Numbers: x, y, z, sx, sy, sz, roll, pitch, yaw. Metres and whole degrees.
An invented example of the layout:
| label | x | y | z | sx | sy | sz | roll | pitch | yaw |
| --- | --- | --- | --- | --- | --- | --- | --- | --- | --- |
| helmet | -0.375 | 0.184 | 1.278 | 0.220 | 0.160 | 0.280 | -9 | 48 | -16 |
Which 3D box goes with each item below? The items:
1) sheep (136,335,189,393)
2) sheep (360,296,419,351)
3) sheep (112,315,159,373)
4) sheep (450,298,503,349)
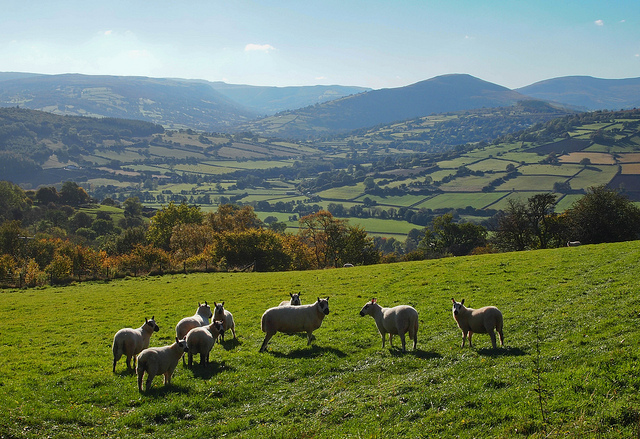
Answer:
| label | x | y | z | sx | sy | sz | roll | pitch | yaw |
| --- | --- | --- | --- | --- | --- | --- | --- | --- | --- |
| sheep | -11.094 | 10.099 | 44.393 | 1.590 | 3.495 | 4.526 | -6 | -5 | 32 |
| sheep | 5.249 | 7.843 | 47.620 | 1.939 | 3.680 | 5.169 | 4 | -7 | -39 |
| sheep | -13.881 | 9.174 | 46.818 | 1.662 | 3.592 | 4.941 | -5 | -5 | 17 |
| sheep | 10.407 | 7.393 | 45.910 | 5.504 | 3.846 | 2.079 | -1 | -5 | 42 |
